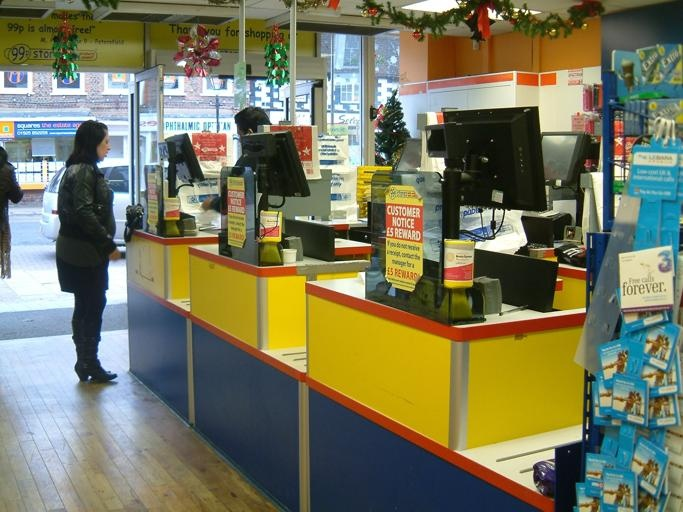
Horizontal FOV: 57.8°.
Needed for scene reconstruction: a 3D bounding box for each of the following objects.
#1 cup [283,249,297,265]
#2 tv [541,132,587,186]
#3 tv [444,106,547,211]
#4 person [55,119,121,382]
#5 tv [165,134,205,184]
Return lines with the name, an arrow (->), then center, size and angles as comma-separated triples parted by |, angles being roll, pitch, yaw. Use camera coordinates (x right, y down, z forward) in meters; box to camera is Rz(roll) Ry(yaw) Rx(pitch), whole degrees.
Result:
cup -> -0.293, -0.002, 3.459 | 0.073, 0.056, 0.075 | 1, 8, 0
tv -> 1.529, -0.677, 4.276 | 0.313, 0.367, 0.300 | 3, 9, 24
tv -> 0.603, -0.381, 2.440 | 0.149, 0.375, 0.411 | -16, 16, -40
person -> -2.056, -0.008, 5.013 | 0.445, 2.133, 0.331 | -4, 8, -26
tv -> -1.262, -0.787, 4.955 | 0.190, 0.460, 0.486 | -20, 13, -25
